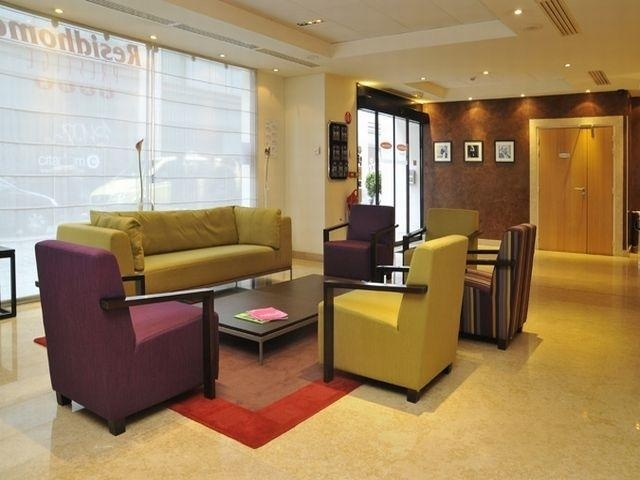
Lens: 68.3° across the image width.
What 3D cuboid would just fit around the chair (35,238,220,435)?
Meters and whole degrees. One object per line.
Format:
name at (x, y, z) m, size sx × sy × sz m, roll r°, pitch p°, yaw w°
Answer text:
chair at (-1.410, 0.604, 3.587) m, size 0.929 × 1.275 × 1.043 m, roll 6°, pitch 8°, yaw 30°

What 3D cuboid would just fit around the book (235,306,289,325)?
book at (-0.534, 0.694, 4.349) m, size 0.449 × 0.036 × 0.384 m, roll -7°, pitch 13°, yaw -31°

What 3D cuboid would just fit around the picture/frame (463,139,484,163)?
picture/frame at (3.457, -1.989, 10.592) m, size 0.483 × 0.603 × 0.043 m, roll 6°, pitch 8°, yaw 44°

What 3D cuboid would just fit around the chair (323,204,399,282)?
chair at (0.467, 0.014, 7.071) m, size 0.950 × 1.329 × 1.075 m, roll 2°, pitch 4°, yaw 30°

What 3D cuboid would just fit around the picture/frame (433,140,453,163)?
picture/frame at (2.869, -2.054, 10.976) m, size 0.497 × 0.619 × 0.047 m, roll 1°, pitch -1°, yaw 40°

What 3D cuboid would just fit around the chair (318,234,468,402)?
chair at (0.608, 0.552, 4.181) m, size 1.228 × 1.431 × 1.059 m, roll 3°, pitch 3°, yaw 32°

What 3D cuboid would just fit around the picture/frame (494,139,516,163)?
picture/frame at (4.029, -1.930, 10.254) m, size 0.481 × 0.600 × 0.038 m, roll 3°, pitch 1°, yaw 35°
